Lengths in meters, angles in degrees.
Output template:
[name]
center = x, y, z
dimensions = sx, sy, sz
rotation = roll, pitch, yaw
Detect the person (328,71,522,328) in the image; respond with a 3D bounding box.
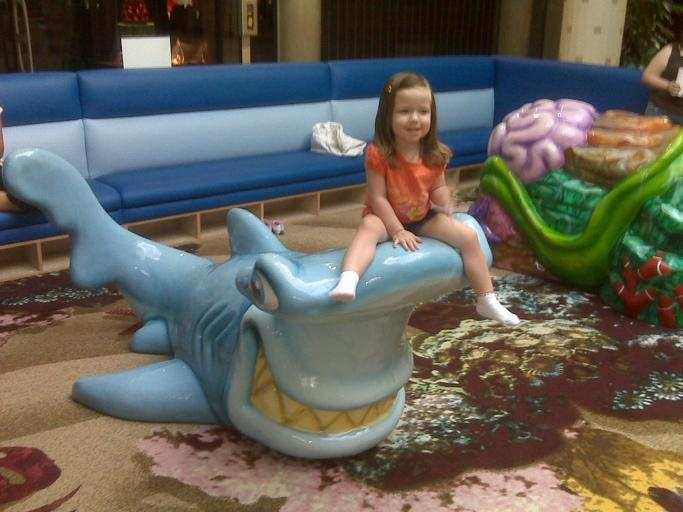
[person]
center = 0.342, -0.197, 1.856
dimensions = 0.680, 0.785, 0.783
rotation = 9, 21, 8
